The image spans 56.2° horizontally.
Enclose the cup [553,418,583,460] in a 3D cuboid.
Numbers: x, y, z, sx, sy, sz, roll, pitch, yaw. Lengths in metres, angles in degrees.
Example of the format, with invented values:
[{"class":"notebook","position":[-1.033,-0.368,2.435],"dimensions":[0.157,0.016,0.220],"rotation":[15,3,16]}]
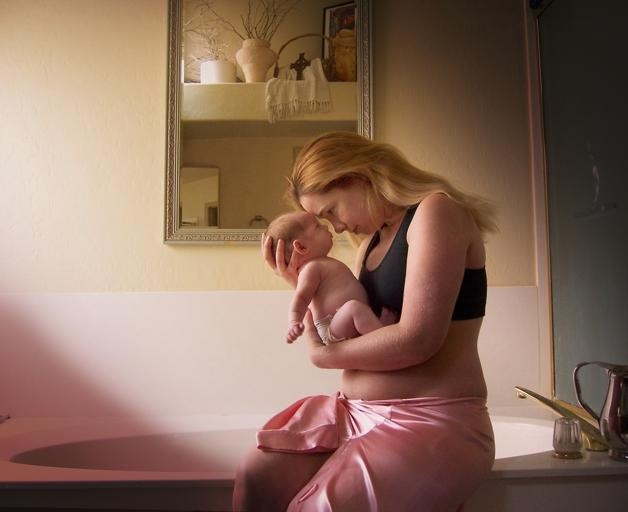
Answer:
[{"class":"cup","position":[0.755,0.538,1.743],"dimensions":[0.085,0.134,0.094],"rotation":[1,-13,-4]}]

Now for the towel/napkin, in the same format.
[{"class":"towel/napkin","position":[-0.060,-0.709,2.561],"dimensions":[0.215,0.221,0.078],"rotation":[-5,-6,4]}]

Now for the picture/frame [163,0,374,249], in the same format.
[{"class":"picture/frame","position":[-0.205,-0.508,2.364],"dimensions":[0.906,1.611,0.032],"rotation":[0,0,-1]}]
